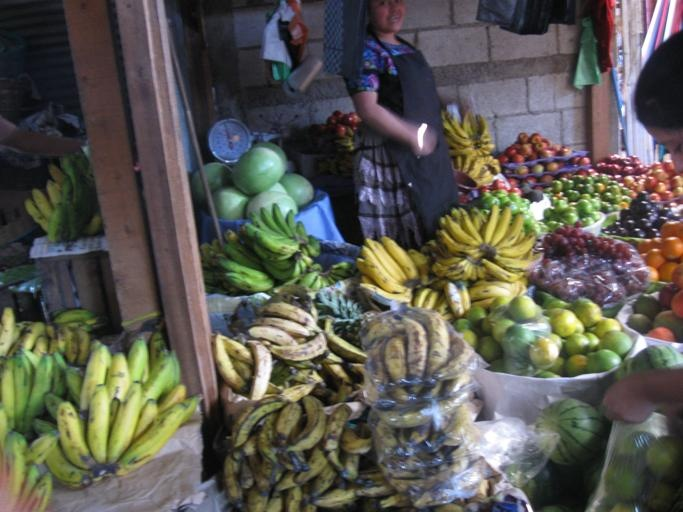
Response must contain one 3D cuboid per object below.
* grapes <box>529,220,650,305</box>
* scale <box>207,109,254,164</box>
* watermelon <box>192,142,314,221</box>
[{"bbox_3d":[1.339,0.046,3.509,0.462,0.190,0.431,-1,37,36],"label":"grapes"},{"bbox_3d":[-0.976,-1.006,5.601,0.353,0.502,0.412,-8,19,-23],"label":"scale"},{"bbox_3d":[-0.688,-0.510,4.621,0.648,0.659,0.330,-20,44,5],"label":"watermelon"}]
